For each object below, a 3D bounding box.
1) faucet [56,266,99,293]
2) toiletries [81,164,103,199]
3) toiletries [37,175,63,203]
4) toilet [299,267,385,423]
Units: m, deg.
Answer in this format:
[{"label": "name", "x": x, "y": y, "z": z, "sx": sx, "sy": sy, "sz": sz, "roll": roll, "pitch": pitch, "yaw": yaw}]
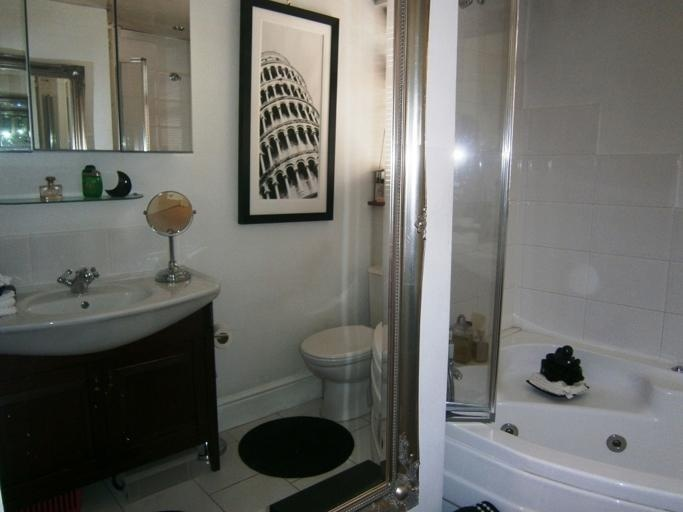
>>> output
[{"label": "faucet", "x": -0.646, "y": 0.057, "z": 1.317, "sx": 0.077, "sy": 0.079, "sz": 0.048, "roll": 22, "pitch": 3, "yaw": -19}, {"label": "toiletries", "x": -0.627, "y": -0.185, "z": 1.339, "sx": 0.048, "sy": 0.092, "sz": 0.044, "roll": -2, "pitch": 4, "yaw": -26}, {"label": "toiletries", "x": -0.705, "y": -0.161, "z": 1.286, "sx": 0.052, "sy": 0.077, "sz": 0.026, "roll": -5, "pitch": 23, "yaw": -36}, {"label": "toilet", "x": 0.046, "y": 0.284, "z": 1.793, "sx": 0.392, "sy": 0.461, "sz": 0.203, "roll": -12, "pitch": 15, "yaw": -27}]
